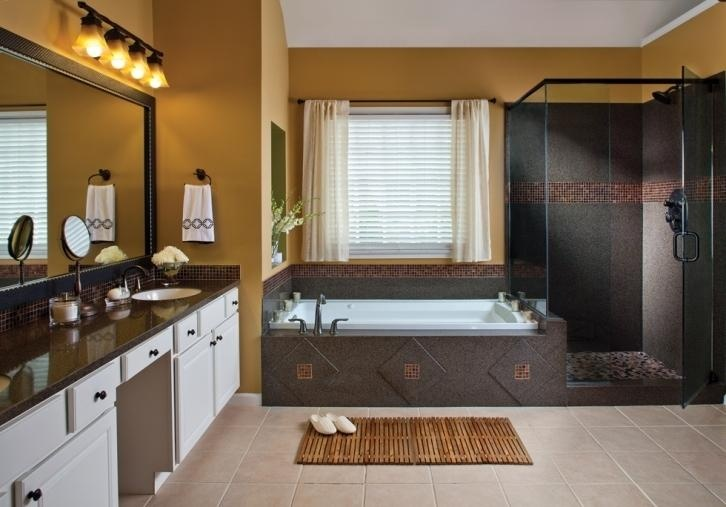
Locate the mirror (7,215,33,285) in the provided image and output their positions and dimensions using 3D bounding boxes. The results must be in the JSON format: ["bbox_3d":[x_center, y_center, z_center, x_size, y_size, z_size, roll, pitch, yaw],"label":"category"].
[{"bbox_3d":[-2.100,-0.024,3.226,0.038,0.406,0.161,0,8,18],"label":"mirror"}]

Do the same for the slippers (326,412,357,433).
[{"bbox_3d":[-0.164,1.305,4.060,0.094,0.067,0.238,2,-4,-36],"label":"slippers"}]

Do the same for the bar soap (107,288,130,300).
[{"bbox_3d":[-1.689,0.279,3.606,0.081,0.060,0.110,-1,-1,-4],"label":"bar soap"}]

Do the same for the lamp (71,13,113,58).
[{"bbox_3d":[-1.832,-1.444,3.536,0.186,0.277,0.222,-3,8,-8],"label":"lamp"}]

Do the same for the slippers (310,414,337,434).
[{"bbox_3d":[-0.309,1.317,4.072,0.151,0.090,0.244,-7,10,-28],"label":"slippers"}]

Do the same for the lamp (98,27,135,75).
[{"bbox_3d":[-1.717,-1.387,3.671,0.251,0.260,0.256,6,9,34],"label":"lamp"}]
